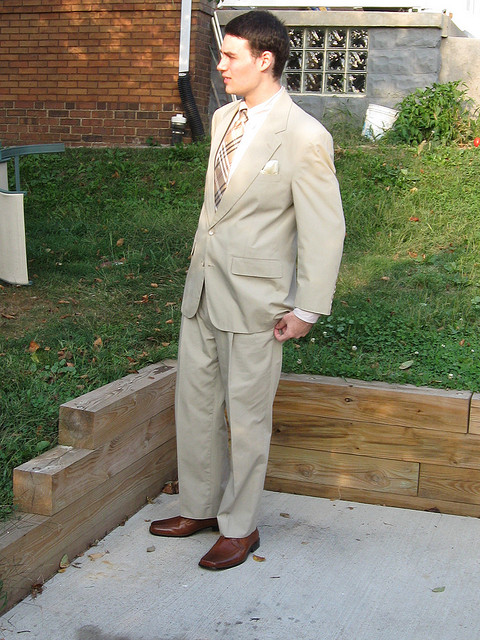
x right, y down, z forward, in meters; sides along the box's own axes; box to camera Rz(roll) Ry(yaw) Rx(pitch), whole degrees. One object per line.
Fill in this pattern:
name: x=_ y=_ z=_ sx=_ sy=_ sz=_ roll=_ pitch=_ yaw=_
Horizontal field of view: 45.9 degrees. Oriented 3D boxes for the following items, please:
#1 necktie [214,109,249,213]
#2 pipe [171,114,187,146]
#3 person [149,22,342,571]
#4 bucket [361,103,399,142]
necktie: x=-0.032 y=-0.565 z=1.954 sx=0.088 sy=0.348 sz=0.094 roll=2 pitch=5 yaw=-16
pipe: x=-0.840 y=-2.681 z=7.859 sx=0.189 sy=0.429 sz=0.218 roll=3 pitch=4 yaw=-3
person: x=0.027 y=-0.036 z=2.028 sx=0.384 sy=1.868 sz=0.550 roll=1 pitch=5 yaw=-24
bucket: x=1.821 y=-2.631 z=7.410 sx=0.453 sy=0.537 sz=0.384 roll=4 pitch=4 yaw=11
